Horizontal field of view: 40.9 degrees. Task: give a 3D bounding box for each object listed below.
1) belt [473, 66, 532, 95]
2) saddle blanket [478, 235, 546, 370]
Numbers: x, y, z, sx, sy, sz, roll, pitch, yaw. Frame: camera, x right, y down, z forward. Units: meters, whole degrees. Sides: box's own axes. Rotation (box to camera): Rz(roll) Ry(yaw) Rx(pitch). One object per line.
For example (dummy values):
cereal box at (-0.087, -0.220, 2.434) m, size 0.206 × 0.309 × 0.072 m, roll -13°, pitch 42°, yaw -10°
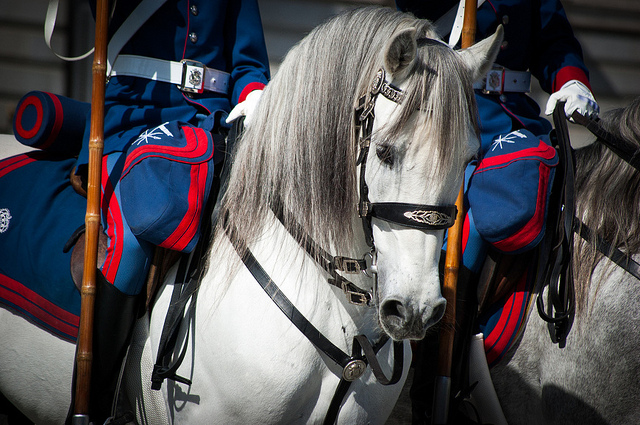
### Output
belt at (0.768, -0.547, 3.621) m, size 0.309 × 0.117 × 0.078 m, roll -6°, pitch 17°, yaw -36°
saddle blanket at (0.754, 0.365, 3.427) m, size 0.307 × 0.469 × 0.129 m, roll 5°, pitch 0°, yaw -12°
